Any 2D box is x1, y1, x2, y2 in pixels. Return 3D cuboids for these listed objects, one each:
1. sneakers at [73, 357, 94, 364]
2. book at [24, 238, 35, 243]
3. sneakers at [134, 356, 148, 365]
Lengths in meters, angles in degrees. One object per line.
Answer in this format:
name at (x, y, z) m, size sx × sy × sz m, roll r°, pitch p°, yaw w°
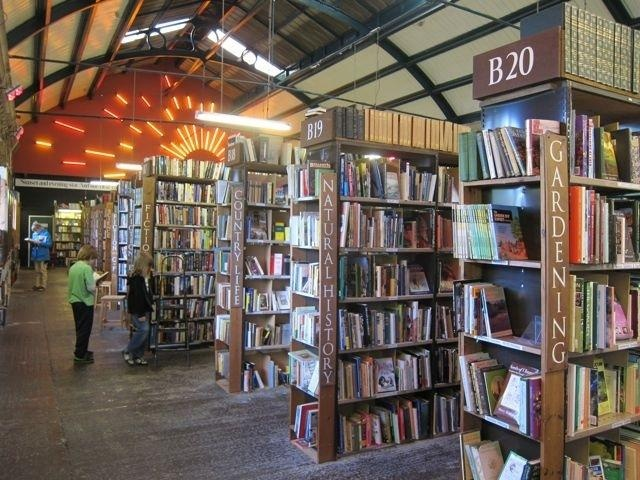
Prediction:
sneakers at (-3.716, 1.891, 8.770) m, size 0.279 × 0.130 × 0.115 m, roll 1°, pitch 2°, yaw -19°
book at (-9.498, -0.019, 18.211) m, size 0.244 × 0.069 × 0.180 m, roll 14°, pitch -4°, yaw 45°
sneakers at (-2.867, 1.926, 8.925) m, size 0.204 × 0.092 × 0.091 m, roll -5°, pitch -9°, yaw 44°
